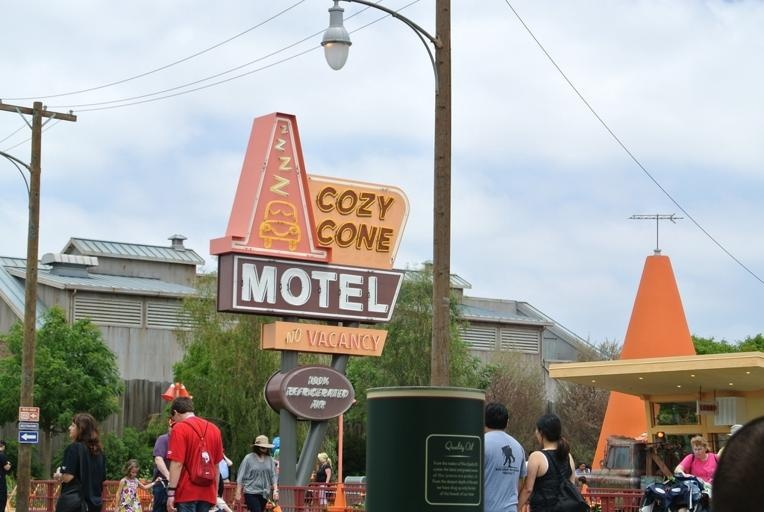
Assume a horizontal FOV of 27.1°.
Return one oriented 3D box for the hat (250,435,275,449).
[{"bbox_3d":[-3.945,5.976,51.110,0.531,0.300,0.613,6,-11,-22],"label":"hat"}]
